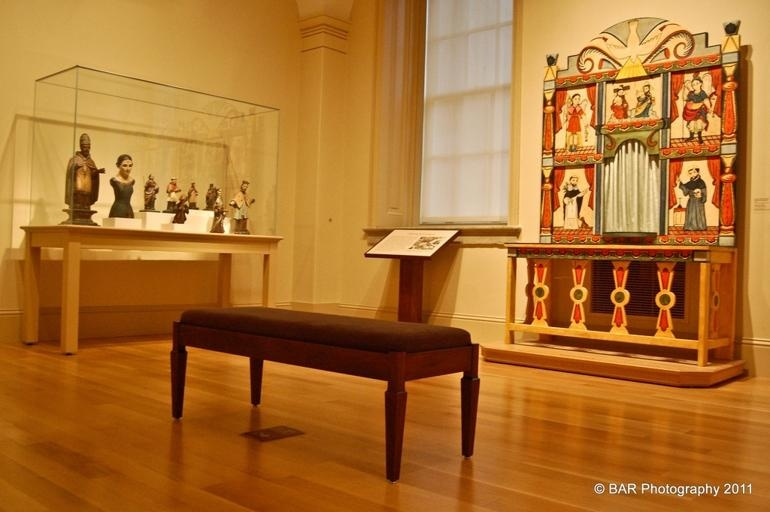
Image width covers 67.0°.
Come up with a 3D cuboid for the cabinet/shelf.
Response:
[{"bbox_3d":[2.220,-0.615,5.252,1.893,3.223,0.995,3,4,33],"label":"cabinet/shelf"}]

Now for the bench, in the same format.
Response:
[{"bbox_3d":[-0.358,0.679,3.187,1.634,0.689,0.508,3,4,25],"label":"bench"}]

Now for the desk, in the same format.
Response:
[{"bbox_3d":[-2.405,0.319,6.218,0.923,1.161,2.402,4,1,35],"label":"desk"}]
